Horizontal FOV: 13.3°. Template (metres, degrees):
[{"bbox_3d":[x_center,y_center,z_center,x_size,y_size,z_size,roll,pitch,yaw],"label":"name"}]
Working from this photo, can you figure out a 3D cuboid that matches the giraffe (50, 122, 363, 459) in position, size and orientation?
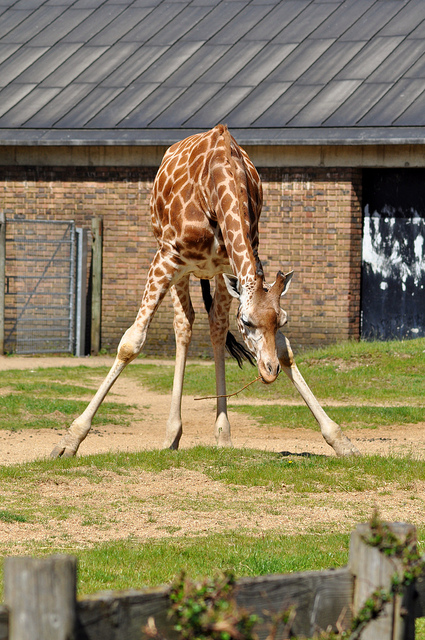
[{"bbox_3d":[-0.441,-0.103,20.075,2.452,4.066,5.629,11,-6,-19],"label":"giraffe"}]
